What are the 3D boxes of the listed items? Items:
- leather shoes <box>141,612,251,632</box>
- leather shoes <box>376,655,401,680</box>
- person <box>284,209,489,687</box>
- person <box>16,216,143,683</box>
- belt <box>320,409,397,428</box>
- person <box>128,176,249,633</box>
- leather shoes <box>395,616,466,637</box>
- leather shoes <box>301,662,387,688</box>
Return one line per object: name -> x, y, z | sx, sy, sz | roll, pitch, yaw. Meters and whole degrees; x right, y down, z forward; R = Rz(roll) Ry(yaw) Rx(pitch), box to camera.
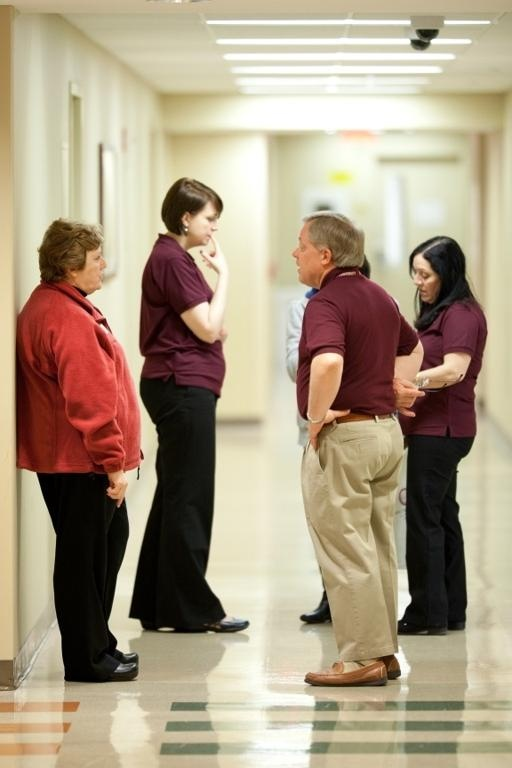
leather shoes -> -0.246, 0.930, 2.761 | 0.376, 0.093, 0.128 | -1, -8, 0
leather shoes -> 0.419, 0.883, 2.267 | 0.045, 0.054, 0.117 | -1, 5, 5
person -> 0.277, 0.203, 2.194 | 0.329, 1.431, 0.573 | -2, -3, 35
person -> -0.548, 0.221, 2.169 | 0.372, 1.403, 0.457 | 0, -3, -7
belt -> 0.306, 0.097, 2.114 | 0.251, 0.041, 0.058 | 1, -3, -21
person -> -0.288, 0.187, 2.711 | 0.441, 1.510, 0.389 | 0, -3, 3
leather shoes -> 0.681, 0.934, 2.806 | 0.263, 0.101, 0.090 | 1, -3, -4
leather shoes -> 0.270, 0.869, 2.225 | 0.265, 0.095, 0.089 | 0, -8, 7
